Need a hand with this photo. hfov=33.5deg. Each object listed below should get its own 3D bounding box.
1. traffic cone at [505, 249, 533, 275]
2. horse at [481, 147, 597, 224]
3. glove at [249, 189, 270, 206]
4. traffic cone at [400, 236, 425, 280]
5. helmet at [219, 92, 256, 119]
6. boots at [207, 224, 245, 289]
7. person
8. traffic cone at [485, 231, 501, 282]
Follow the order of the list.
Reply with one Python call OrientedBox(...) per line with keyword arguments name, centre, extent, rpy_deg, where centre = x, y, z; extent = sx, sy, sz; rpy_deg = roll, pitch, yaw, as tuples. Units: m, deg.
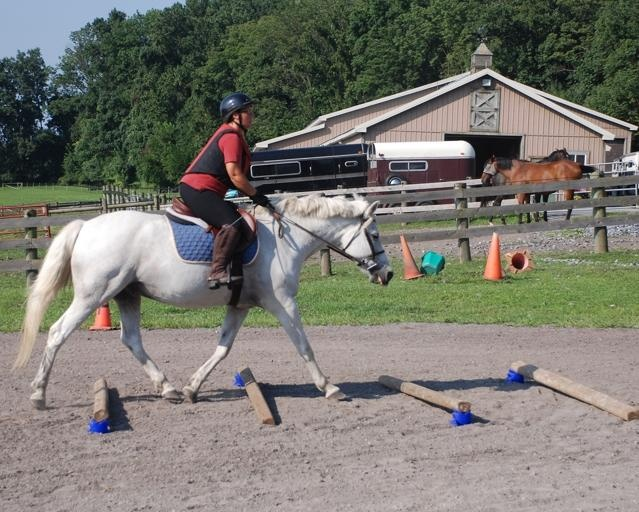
OrientedBox(name="traffic cone", centre=(4.793, 0.117, 25.558), extent=(0.614, 0.534, 0.611), rpy_deg=(-1, 10, 10))
OrientedBox(name="horse", centre=(6.985, -2.138, 32.858), extent=(3.048, 1.819, 3.758), rpy_deg=(-6, 10, -14))
OrientedBox(name="glove", centre=(-0.990, -0.944, 17.956), extent=(0.304, 0.096, 0.228), rpy_deg=(33, -13, -24))
OrientedBox(name="traffic cone", centre=(2.200, 0.020, 25.586), extent=(0.489, 1.008, 1.051), rpy_deg=(-2, 10, 5))
OrientedBox(name="helmet", centre=(-1.400, -2.544, 17.957), extent=(0.500, 0.357, 0.403), rpy_deg=(-1, 10, -5))
OrientedBox(name="boots", centre=(-1.567, 0.014, 17.572), extent=(0.559, 1.018, 0.286), rpy_deg=(-4, 10, -4))
OrientedBox(name="person", centre=(-1.585, -1.097, 17.752), extent=(1.317, 3.162, 0.840), rpy_deg=(-8, 11, -29))
OrientedBox(name="traffic cone", centre=(4.054, 0.033, 24.947), extent=(0.437, 0.988, 0.926), rpy_deg=(-2, 10, 9))
